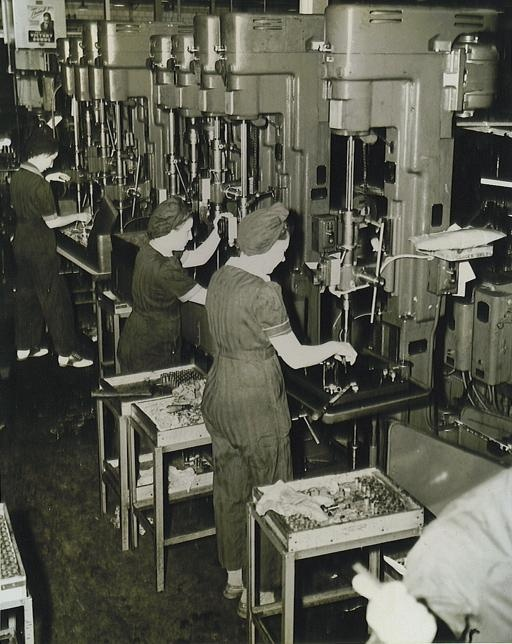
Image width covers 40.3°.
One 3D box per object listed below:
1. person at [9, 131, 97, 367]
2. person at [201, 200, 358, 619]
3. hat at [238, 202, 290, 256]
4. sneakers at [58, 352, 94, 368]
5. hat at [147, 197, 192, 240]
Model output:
[{"bbox_3d":[-1.121,-0.354,3.726,0.391,1.329,0.199,-5,13,-20],"label":"person"},{"bbox_3d":[0.024,0.363,2.441,0.480,1.534,0.246,7,14,31],"label":"person"},{"bbox_3d":[0.019,-0.299,2.266,0.166,0.161,0.091,-1,14,0],"label":"hat"},{"bbox_3d":[-1.025,0.206,3.958,0.139,0.087,0.069,-3,5,-20],"label":"sneakers"},{"bbox_3d":[-0.396,-0.474,3.191,0.198,0.190,0.095,-4,14,-9],"label":"hat"}]
